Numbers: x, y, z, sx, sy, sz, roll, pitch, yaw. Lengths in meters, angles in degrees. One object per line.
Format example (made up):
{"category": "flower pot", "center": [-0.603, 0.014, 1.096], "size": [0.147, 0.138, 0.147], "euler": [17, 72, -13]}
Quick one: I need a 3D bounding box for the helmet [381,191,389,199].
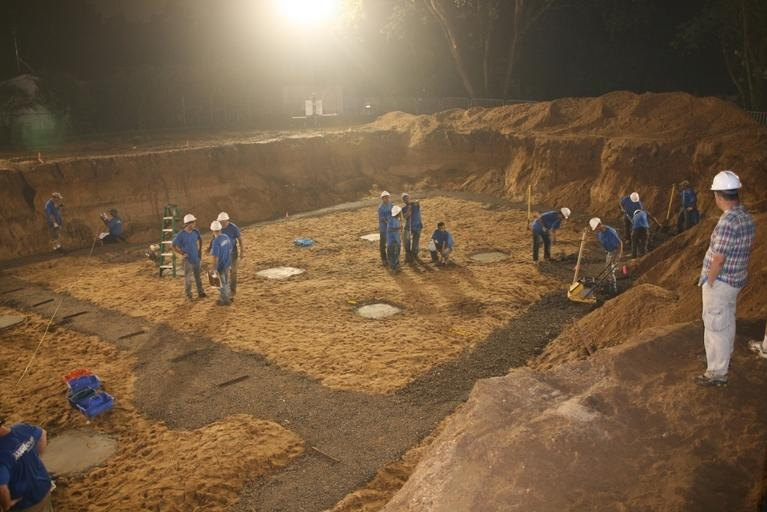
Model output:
{"category": "helmet", "center": [0.076, -2.196, 22.621], "size": [0.415, 0.245, 0.584], "euler": [-2, 10, 3]}

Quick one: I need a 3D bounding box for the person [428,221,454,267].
{"category": "person", "center": [2.125, -0.454, 23.251], "size": [0.867, 1.503, 0.745], "euler": [-7, 18, 4]}

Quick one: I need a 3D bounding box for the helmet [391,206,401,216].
{"category": "helmet", "center": [0.488, -1.596, 22.715], "size": [0.314, 0.274, 0.481], "euler": [-6, 18, 7]}

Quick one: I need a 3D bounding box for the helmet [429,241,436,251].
{"category": "helmet", "center": [1.824, -0.321, 23.223], "size": [0.265, 0.337, 0.230], "euler": [2, 21, 29]}

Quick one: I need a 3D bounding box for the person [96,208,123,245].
{"category": "person", "center": [-11.294, -1.118, 25.862], "size": [0.918, 1.263, 0.709], "euler": [19, 36, -5]}

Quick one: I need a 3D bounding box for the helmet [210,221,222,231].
{"category": "helmet", "center": [-5.373, -0.919, 20.098], "size": [0.365, 0.169, 0.491], "euler": [-2, 7, -34]}
